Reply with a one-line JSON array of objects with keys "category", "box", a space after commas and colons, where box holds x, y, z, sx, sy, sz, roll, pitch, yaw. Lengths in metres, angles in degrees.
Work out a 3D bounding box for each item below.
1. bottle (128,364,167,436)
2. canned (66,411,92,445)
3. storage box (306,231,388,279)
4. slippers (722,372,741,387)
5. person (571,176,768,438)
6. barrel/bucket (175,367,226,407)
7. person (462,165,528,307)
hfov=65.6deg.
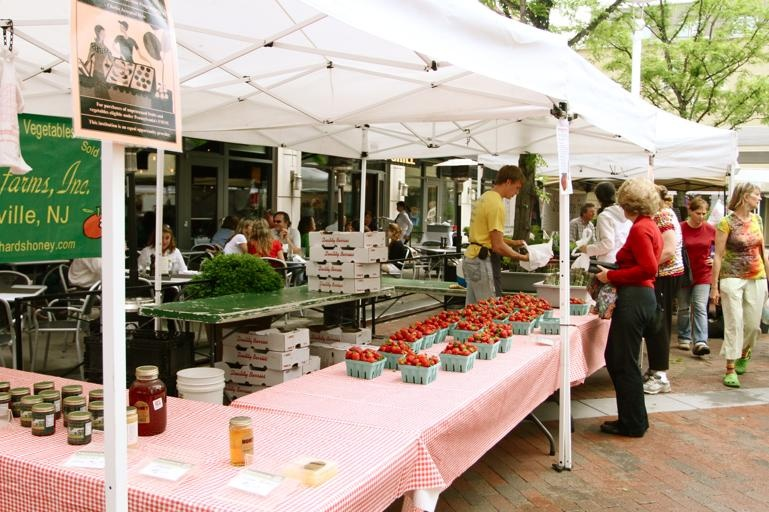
[{"category": "bottle", "box": [-1.269, 0.768, 3.184, 0.190, 0.346, 0.246, -1, 7, -21]}, {"category": "canned", "box": [-1.570, 0.892, 3.060, 0.134, 0.116, 0.121, -1, -9, -8]}, {"category": "storage box", "box": [-0.442, -0.025, 7.130, 0.666, 0.621, 0.651, 2, 3, 36]}, {"category": "slippers", "box": [4.401, 1.571, 7.547, 0.165, 0.092, 0.293, -2, -4, 19]}, {"category": "person", "box": [2.496, 0.515, 6.038, 1.107, 2.078, 0.829, 1, 1, 27]}, {"category": "barrel/bucket", "box": [-1.208, 0.879, 3.949, 0.285, 0.217, 0.254, 1, 0, -1]}, {"category": "person", "box": [1.325, -0.229, 7.172, 0.823, 1.618, 0.596, 0, 1, 8]}]
